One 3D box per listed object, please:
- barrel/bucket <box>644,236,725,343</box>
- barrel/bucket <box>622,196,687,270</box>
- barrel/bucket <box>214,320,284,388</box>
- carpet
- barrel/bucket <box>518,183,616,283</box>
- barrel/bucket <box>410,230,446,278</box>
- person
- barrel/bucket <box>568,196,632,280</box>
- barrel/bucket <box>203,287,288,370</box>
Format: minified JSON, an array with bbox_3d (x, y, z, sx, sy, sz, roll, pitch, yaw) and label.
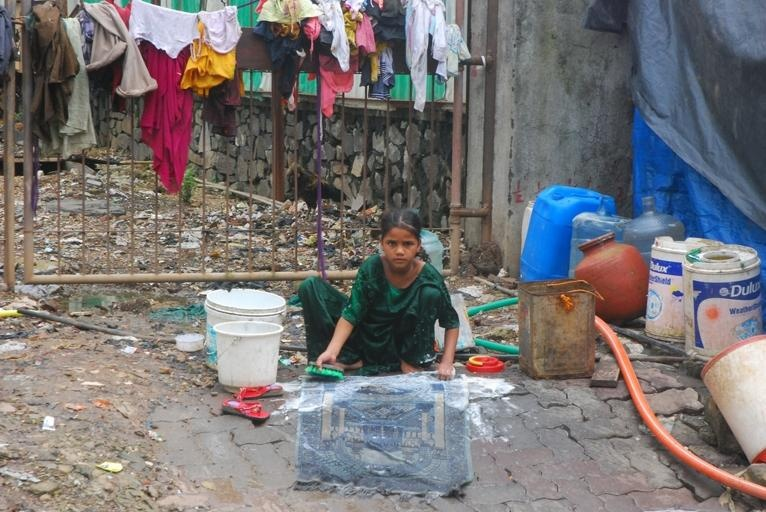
[{"bbox_3d":[2.448,0.235,7.764,0.564,0.777,0.572,1,9,0],"label":"barrel/bucket"},{"bbox_3d":[2.245,-0.216,8.312,0.579,0.595,0.560,-7,-1,0],"label":"barrel/bucket"},{"bbox_3d":[-1.049,0.739,7.043,0.636,0.450,0.608,2,1,0],"label":"barrel/bucket"},{"bbox_3d":[0.011,1.193,6.300,1.124,0.573,0.614,-1,14,2],"label":"carpet"},{"bbox_3d":[1.786,-0.140,8.995,0.961,0.954,0.549,5,19,-23],"label":"barrel/bucket"},{"bbox_3d":[0.478,-0.047,9.397,0.104,0.417,0.269,-33,27,-14],"label":"barrel/bucket"},{"bbox_3d":[-0.013,0.304,6.909,1.240,1.173,1.011,5,8,22],"label":"person"},{"bbox_3d":[1.741,-0.218,8.592,0.768,0.767,0.489,0,1,-43],"label":"barrel/bucket"},{"bbox_3d":[-1.002,0.505,7.269,0.631,0.497,0.616,2,6,0],"label":"barrel/bucket"}]
